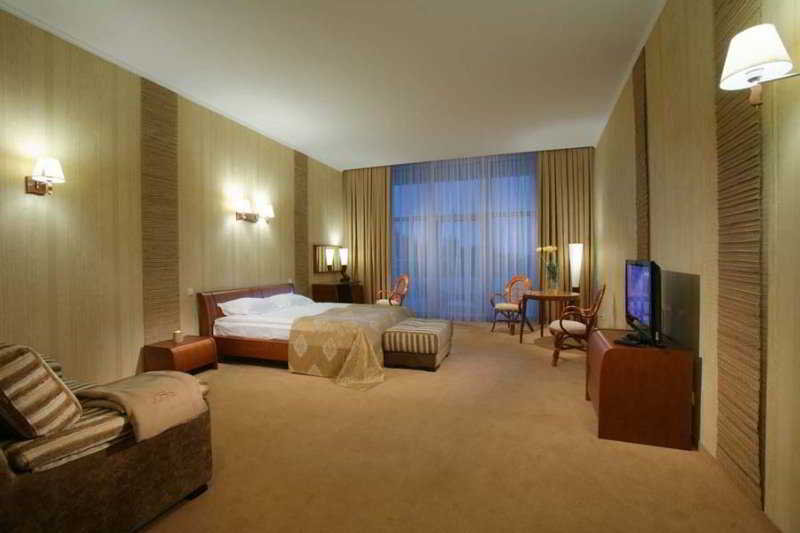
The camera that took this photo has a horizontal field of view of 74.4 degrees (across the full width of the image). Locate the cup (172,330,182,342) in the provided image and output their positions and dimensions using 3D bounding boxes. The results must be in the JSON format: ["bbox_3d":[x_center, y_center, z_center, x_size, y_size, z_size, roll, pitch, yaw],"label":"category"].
[{"bbox_3d":[-2.620,0.808,6.191,0.110,0.124,0.112,-1,4,0],"label":"cup"}]

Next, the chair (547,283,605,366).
[{"bbox_3d":[2.209,0.698,6.702,0.624,1.036,0.587,7,9,35],"label":"chair"}]

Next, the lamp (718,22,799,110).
[{"bbox_3d":[2.542,-1.487,3.928,0.648,0.640,0.456,4,6,41],"label":"lamp"}]

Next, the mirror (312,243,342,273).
[{"bbox_3d":[-1.296,-0.146,9.424,0.291,0.580,0.987,1,7,12],"label":"mirror"}]

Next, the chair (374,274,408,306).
[{"bbox_3d":[-0.107,0.441,9.559,0.550,0.860,0.534,3,-3,-39],"label":"chair"}]

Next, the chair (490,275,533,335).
[{"bbox_3d":[1.793,0.585,8.634,0.615,0.897,0.620,2,2,31],"label":"chair"}]

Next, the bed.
[{"bbox_3d":[-1.235,0.852,6.588,1.556,0.691,1.428,0,3,15],"label":"bed"}]

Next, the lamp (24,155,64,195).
[{"bbox_3d":[-3.561,-0.908,5.285,0.318,0.375,0.278,-2,-1,8],"label":"lamp"}]

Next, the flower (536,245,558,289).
[{"bbox_3d":[2.308,-0.036,8.387,0.334,0.672,0.349,-5,-27,18],"label":"flower"}]

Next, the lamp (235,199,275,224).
[{"bbox_3d":[-2.063,-0.798,7.604,0.218,0.353,0.767,3,7,24],"label":"lamp"}]

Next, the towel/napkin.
[{"bbox_3d":[-2.014,1.042,4.143,0.637,0.256,0.520,2,6,13],"label":"towel/napkin"}]
